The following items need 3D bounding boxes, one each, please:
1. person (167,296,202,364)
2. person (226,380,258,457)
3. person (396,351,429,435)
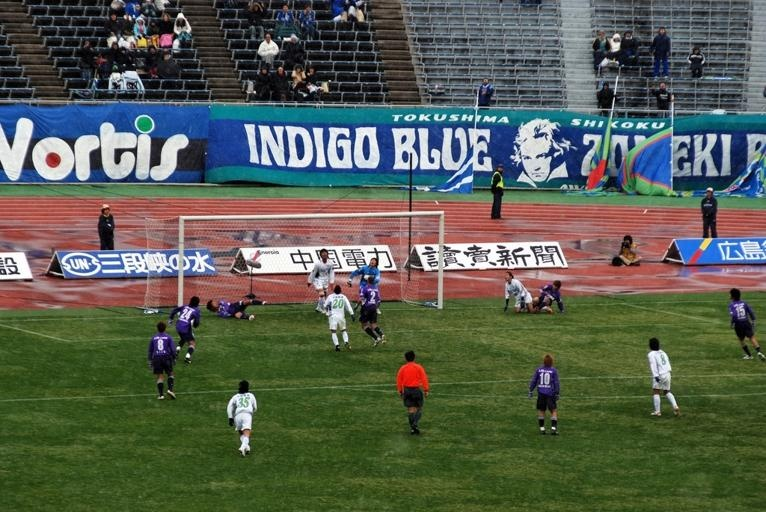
[{"bbox_3d":[-6.504,2.344,52.147,1.193,2.120,0.948,8,6,14],"label":"person"},{"bbox_3d":[-4.184,4.814,47.418,0.949,2.057,1.537,-3,-1,7],"label":"person"},{"bbox_3d":[0.920,4.198,48.696,0.871,2.548,0.670,-1,7,0],"label":"person"}]
